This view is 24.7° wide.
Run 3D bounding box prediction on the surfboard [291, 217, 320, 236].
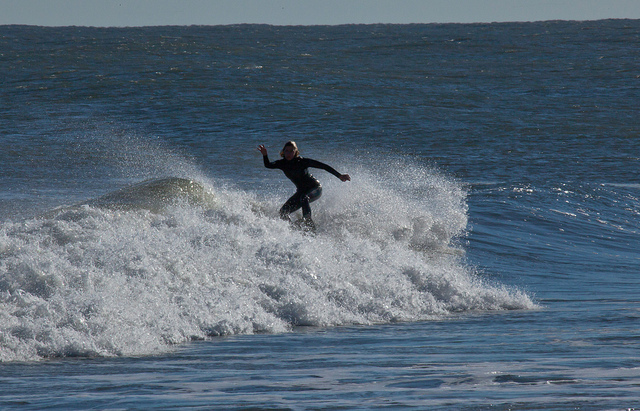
[{"bbox_3d":[-0.494,0.757,53.588,0.761,0.327,0.903,-17,37,-35],"label":"surfboard"}]
